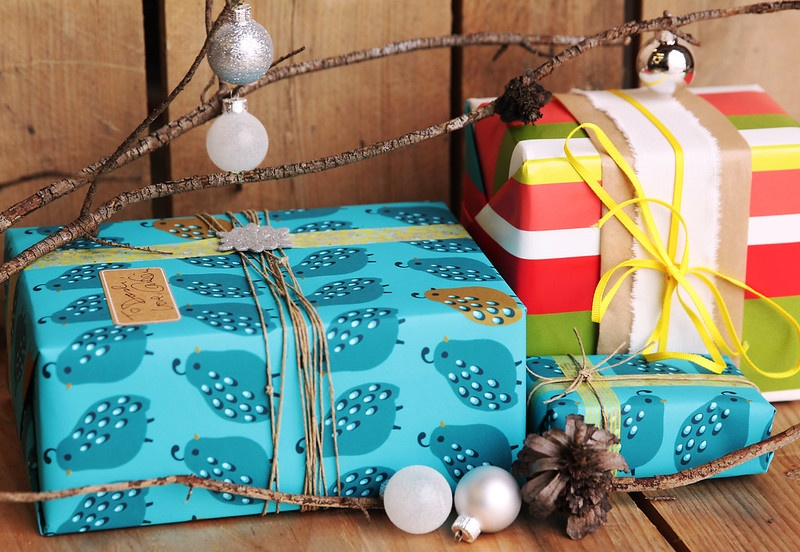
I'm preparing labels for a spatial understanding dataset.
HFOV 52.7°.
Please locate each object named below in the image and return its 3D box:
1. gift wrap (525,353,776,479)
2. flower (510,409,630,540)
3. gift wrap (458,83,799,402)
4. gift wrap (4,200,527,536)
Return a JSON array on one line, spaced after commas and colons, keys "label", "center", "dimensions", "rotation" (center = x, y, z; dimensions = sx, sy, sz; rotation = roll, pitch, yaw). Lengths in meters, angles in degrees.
[{"label": "gift wrap", "center": [0.299, 0.171, 1.022], "dimensions": [0.284, 0.085, 0.149], "rotation": [0, 27, -5]}, {"label": "flower", "center": [0.208, 0.216, 0.927], "dimensions": [0.145, 0.062, 0.134], "rotation": [-23, 38, 21]}, {"label": "gift wrap", "center": [0.299, -0.030, 1.027], "dimensions": [0.454, 0.324, 0.219], "rotation": [-3, 22, -5]}, {"label": "gift wrap", "center": [-0.159, 0.095, 1.051], "dimensions": [0.593, 0.335, 0.282], "rotation": [-6, 11, -8]}]
